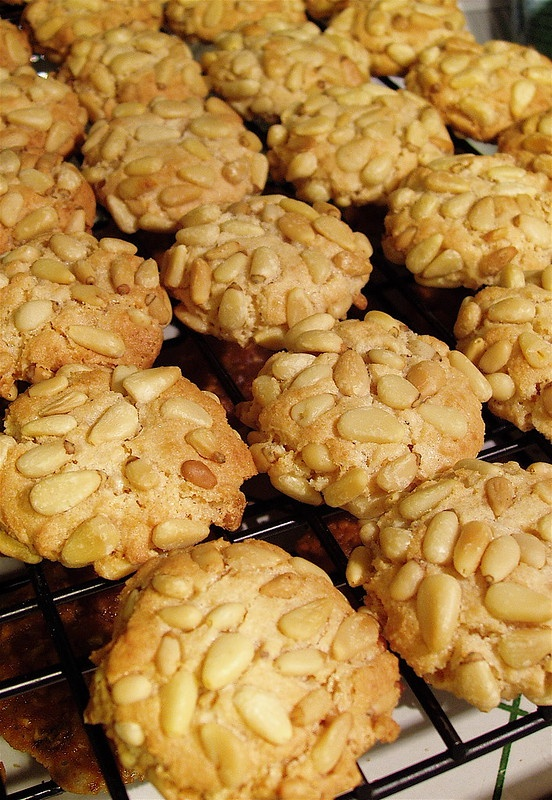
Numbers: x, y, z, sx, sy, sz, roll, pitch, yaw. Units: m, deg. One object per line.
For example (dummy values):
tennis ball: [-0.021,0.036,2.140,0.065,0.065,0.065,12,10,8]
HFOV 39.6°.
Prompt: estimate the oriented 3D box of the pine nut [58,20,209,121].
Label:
pine nut: [-0.340,-0.791,1.821,0.286,0.087,0.300,20,44,16]
